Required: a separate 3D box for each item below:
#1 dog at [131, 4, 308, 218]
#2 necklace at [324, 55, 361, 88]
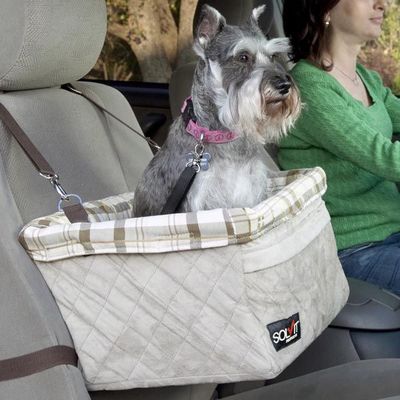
[{"bbox_3d":[0.159,-0.320,2.034,0.636,1.150,0.421,-3,6,24],"label":"dog"},{"bbox_3d":[0.627,-0.550,2.266,0.086,0.210,0.004,-43,23,-11],"label":"necklace"}]
